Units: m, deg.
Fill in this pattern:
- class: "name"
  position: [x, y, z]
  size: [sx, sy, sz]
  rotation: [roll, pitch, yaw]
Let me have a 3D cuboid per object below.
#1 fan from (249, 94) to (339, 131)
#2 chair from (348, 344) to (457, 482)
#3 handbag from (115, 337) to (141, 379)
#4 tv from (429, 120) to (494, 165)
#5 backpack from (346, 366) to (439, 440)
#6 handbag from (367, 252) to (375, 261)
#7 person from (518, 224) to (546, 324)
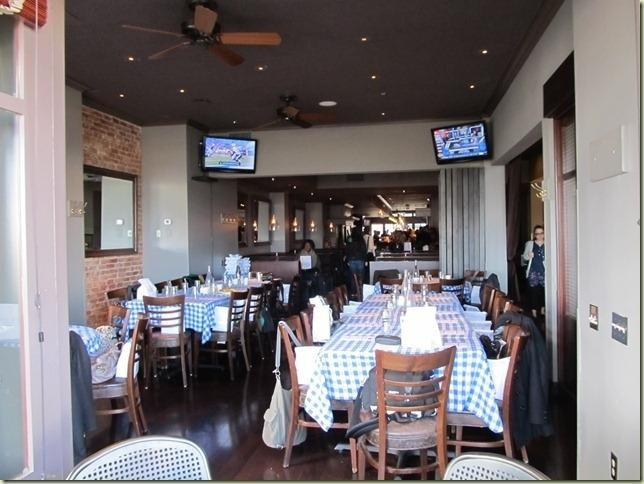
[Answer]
- class: "fan"
  position: [-0.249, -1.833, 6.671]
  size: [0.663, 0.216, 0.783]
  rotation: [0, 0, -17]
- class: "chair"
  position: [0.531, 1.178, 3.162]
  size: [0.639, 1.058, 0.448]
  rotation: [-1, 5, 4]
- class: "handbag"
  position: [-1.629, 0.972, 3.989]
  size: [0.156, 0.375, 0.368]
  rotation: [2, -5, -4]
- class: "tv"
  position: [2.291, -1.644, 7.780]
  size: [0.769, 0.594, 0.084]
  rotation: [-2, 12, 29]
- class: "backpack"
  position: [0.455, 1.034, 3.176]
  size: [0.519, 0.187, 0.493]
  rotation: [-5, 4, -6]
- class: "handbag"
  position: [1.141, 0.336, 11.613]
  size: [0.193, 0.293, 0.159]
  rotation: [7, -12, -33]
- class: "person"
  position: [3.053, 0.492, 6.668]
  size: [0.445, 1.412, 0.348]
  rotation: [-4, 10, 23]
